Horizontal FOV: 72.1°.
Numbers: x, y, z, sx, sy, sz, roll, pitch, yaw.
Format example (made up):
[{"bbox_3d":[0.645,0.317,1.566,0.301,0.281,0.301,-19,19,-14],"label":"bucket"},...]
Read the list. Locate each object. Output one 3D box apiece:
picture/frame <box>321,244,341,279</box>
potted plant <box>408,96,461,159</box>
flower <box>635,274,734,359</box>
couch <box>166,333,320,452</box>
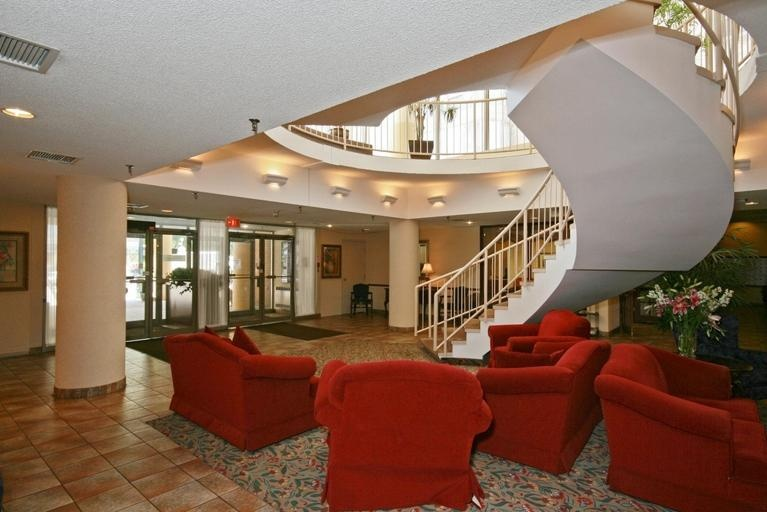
[{"bbox_3d":[-1.489,0.139,14.603,0.092,0.933,1.108,-11,-14,38],"label":"picture/frame"},{"bbox_3d":[1.201,-3.087,12.446,1.070,1.687,3.419,2,8,8],"label":"potted plant"},{"bbox_3d":[4.071,0.667,7.077,1.596,0.983,1.326,-5,4,-33],"label":"flower"},{"bbox_3d":[-1.497,1.496,6.573,2.565,1.106,1.491,2,4,38],"label":"couch"}]
